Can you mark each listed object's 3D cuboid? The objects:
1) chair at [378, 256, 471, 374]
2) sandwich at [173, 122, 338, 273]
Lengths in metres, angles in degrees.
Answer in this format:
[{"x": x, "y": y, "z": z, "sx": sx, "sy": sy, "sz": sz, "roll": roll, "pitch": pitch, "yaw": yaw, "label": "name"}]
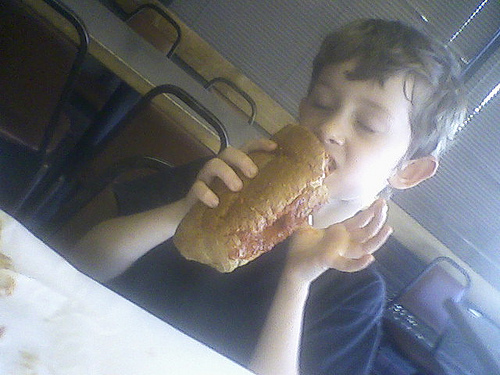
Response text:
[{"x": 0.425, "y": 0.313, "z": 1.075, "sx": 0.126, "sy": 0.234, "sz": 0.153, "roll": 44, "pitch": 13, "yaw": 10, "label": "chair"}, {"x": 0.022, "y": 0.069, "z": 0.883, "sx": 0.194, "sy": 0.326, "sz": 0.103, "roll": 37, "pitch": -1, "yaw": 21, "label": "sandwich"}]
